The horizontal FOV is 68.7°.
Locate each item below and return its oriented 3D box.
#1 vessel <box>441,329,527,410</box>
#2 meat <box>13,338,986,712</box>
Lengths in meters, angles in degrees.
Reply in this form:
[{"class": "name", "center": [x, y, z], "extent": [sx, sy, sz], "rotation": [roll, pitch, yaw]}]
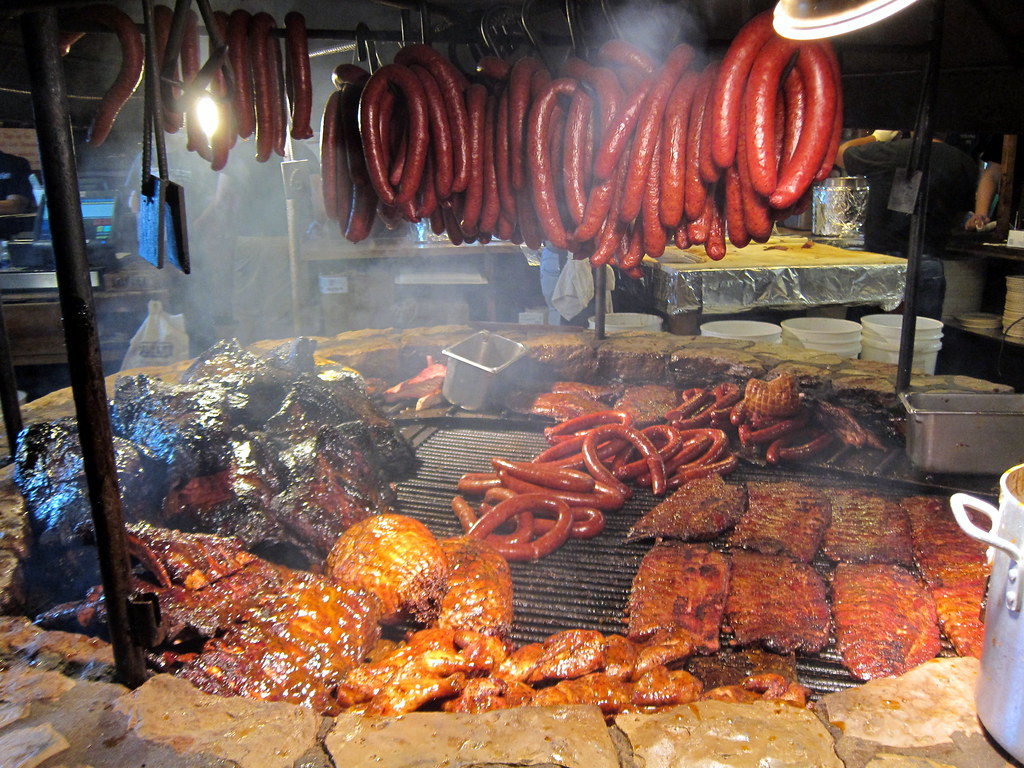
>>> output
[{"class": "vessel", "center": [-0.304, -0.113, 5.193], "extent": [0.450, 0.392, 0.622], "rotation": [14, 22, -8]}, {"class": "meat", "center": [0.064, 0.720, 3.359], "extent": [2.449, 0.457, 2.012], "rotation": [-1, 23, -9]}]
